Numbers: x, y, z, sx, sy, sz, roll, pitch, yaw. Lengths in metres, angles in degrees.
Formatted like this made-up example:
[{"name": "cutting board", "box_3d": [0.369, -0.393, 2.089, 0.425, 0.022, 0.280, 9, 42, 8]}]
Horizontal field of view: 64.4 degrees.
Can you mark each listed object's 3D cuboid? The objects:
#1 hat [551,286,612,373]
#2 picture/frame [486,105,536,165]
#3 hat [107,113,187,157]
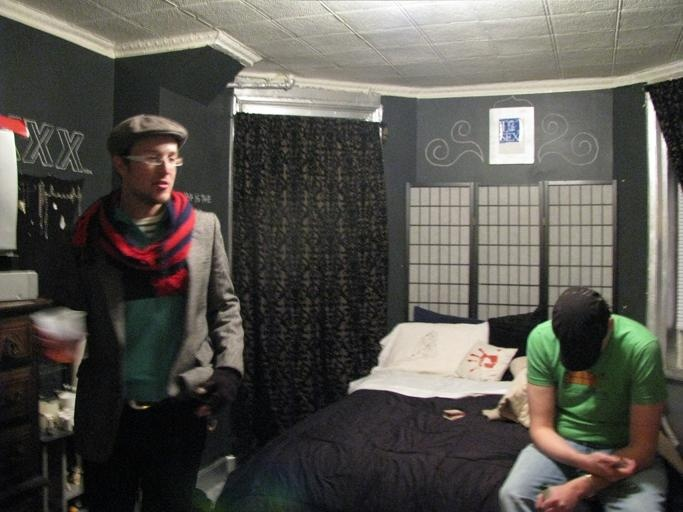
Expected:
[{"name": "hat", "box_3d": [1.058, 0.312, 2.388, 0.257, 0.368, 0.192, 3, -13, 32]}, {"name": "picture/frame", "box_3d": [1.524, -1.079, 4.801, 0.555, 0.651, 0.056, 1, -1, 12]}, {"name": "hat", "box_3d": [-0.719, -0.419, 2.058, 0.191, 0.071, 0.208, -5, -3, 20]}]
